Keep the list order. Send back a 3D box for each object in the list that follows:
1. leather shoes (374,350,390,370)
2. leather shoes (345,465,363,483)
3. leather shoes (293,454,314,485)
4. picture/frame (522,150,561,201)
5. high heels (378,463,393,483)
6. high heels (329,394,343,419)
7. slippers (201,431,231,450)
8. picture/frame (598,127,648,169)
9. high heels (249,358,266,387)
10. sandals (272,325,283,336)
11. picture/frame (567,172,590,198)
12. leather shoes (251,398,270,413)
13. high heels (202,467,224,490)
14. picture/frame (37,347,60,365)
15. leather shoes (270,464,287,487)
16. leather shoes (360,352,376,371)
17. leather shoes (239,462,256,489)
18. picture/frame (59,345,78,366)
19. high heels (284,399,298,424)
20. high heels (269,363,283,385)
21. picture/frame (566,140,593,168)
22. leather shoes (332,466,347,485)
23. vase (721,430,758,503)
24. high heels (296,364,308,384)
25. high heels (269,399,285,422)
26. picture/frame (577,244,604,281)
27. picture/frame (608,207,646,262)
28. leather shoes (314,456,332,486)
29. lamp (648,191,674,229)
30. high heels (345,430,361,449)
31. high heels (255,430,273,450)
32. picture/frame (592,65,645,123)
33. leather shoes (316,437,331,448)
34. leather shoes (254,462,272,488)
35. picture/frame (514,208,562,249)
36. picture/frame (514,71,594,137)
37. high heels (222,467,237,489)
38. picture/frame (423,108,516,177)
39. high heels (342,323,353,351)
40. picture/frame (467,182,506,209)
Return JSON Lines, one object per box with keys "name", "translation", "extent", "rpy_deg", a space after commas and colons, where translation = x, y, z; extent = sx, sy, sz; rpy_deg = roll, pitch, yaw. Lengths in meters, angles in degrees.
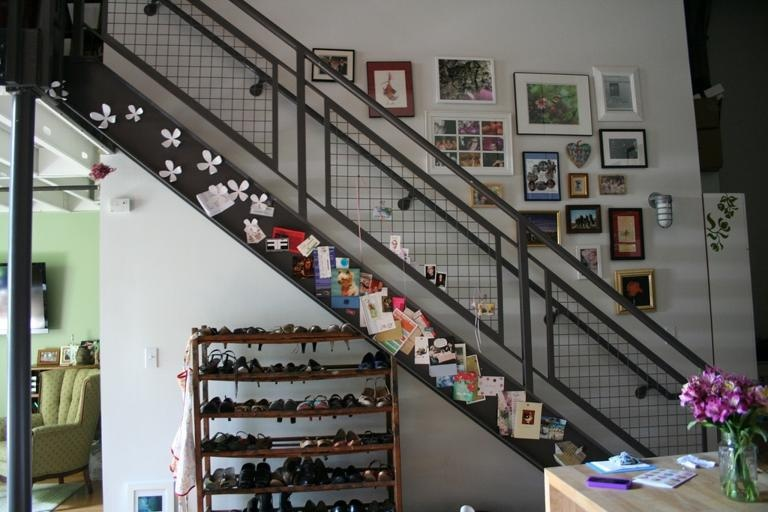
{"name": "leather shoes", "translation": [-0.026, 0.965, 6.659], "extent": [0.142, 0.180, 0.264], "rpy_deg": [-8, -8, -1]}
{"name": "leather shoes", "translation": [-0.287, 2.007, 6.624], "extent": [0.157, 0.121, 0.282], "rpy_deg": [-8, -8, -5]}
{"name": "leather shoes", "translation": [-0.747, 1.963, 6.584], "extent": [0.188, 0.268, 0.607], "rpy_deg": [1, -7, -3]}
{"name": "picture/frame", "translation": [1.607, -0.804, 7.398], "extent": [0.476, 0.699, 0.024], "rpy_deg": [1, -8, -9]}
{"name": "high heels", "translation": [0.008, 1.992, 6.570], "extent": [0.069, 0.128, 0.122], "rpy_deg": [5, -22, -8]}
{"name": "high heels", "translation": [-0.460, 1.348, 6.644], "extent": [0.120, 0.121, 0.298], "rpy_deg": [-7, -8, -6]}
{"name": "slippers", "translation": [-1.527, 1.691, 6.572], "extent": [0.096, 0.085, 0.253], "rpy_deg": [1, 2, 10]}
{"name": "picture/frame", "translation": [2.475, -1.112, 7.512], "extent": [0.397, 0.374, 0.032], "rpy_deg": [0, -10, -8]}
{"name": "high heels", "translation": [-1.183, 1.060, 6.692], "extent": [0.102, 0.125, 0.305], "rpy_deg": [3, -27, -5]}
{"name": "sandals", "translation": [-1.010, 0.704, 6.783], "extent": [0.045, 0.056, 0.134], "rpy_deg": [2, -1, -25]}
{"name": "picture/frame", "translation": [2.000, -0.724, 7.433], "extent": [0.240, 0.310, 0.030], "rpy_deg": [0, -3, -9]}
{"name": "leather shoes", "translation": [-1.143, 1.370, 6.584], "extent": [0.149, 0.100, 0.226], "rpy_deg": [-7, -8, -10]}
{"name": "high heels", "translation": [-1.573, 2.052, 6.610], "extent": [0.184, 0.141, 0.285], "rpy_deg": [-6, -8, -14]}
{"name": "picture/frame", "translation": [-4.366, 1.309, 9.312], "extent": [0.177, 0.188, 0.065], "rpy_deg": [1, -31, -16]}
{"name": "leather shoes", "translation": [-0.991, 2.032, 6.620], "extent": [0.143, 0.134, 0.298], "rpy_deg": [-7, -8, -11]}
{"name": "leather shoes", "translation": [-0.146, 0.987, 6.675], "extent": [0.069, 0.061, 0.202], "rpy_deg": [-10, 33, 14]}
{"name": "leather shoes", "translation": [-1.255, 2.017, 6.567], "extent": [0.116, 0.120, 0.371], "rpy_deg": [3, -4, -8]}
{"name": "picture/frame", "translation": [-4.094, 1.303, 9.288], "extent": [0.209, 0.232, 0.016], "rpy_deg": [-6, -13, 8]}
{"name": "high heels", "translation": [-0.859, 1.455, 6.645], "extent": [0.088, 0.259, 0.092], "rpy_deg": [0, 34, 0]}
{"name": "high heels", "translation": [-1.008, 1.076, 6.635], "extent": [0.166, 0.152, 0.287], "rpy_deg": [-7, -8, -9]}
{"name": "picture/frame", "translation": [2.013, -1.046, 7.462], "extent": [0.253, 0.283, 0.037], "rpy_deg": [2, -12, -11]}
{"name": "leather shoes", "translation": [-0.424, 2.013, 6.612], "extent": [0.172, 0.122, 0.273], "rpy_deg": [-7, -8, -9]}
{"name": "vase", "translation": [2.607, 1.535, 5.294], "extent": [0.282, 0.463, 0.298], "rpy_deg": [-3, -1, 7]}
{"name": "high heels", "translation": [-0.778, 1.064, 6.595], "extent": [0.129, 0.184, 0.159], "rpy_deg": [1, -28, -5]}
{"name": "high heels", "translation": [-0.995, 1.449, 6.689], "extent": [0.136, 0.210, 0.453], "rpy_deg": [-6, -8, -10]}
{"name": "picture/frame", "translation": [2.032, 0.072, 7.128], "extent": [0.337, 0.510, 0.024], "rpy_deg": [0, -1, -6]}
{"name": "picture/frame", "translation": [2.512, -0.227, 7.462], "extent": [0.386, 0.556, 0.085], "rpy_deg": [-6, -7, -11]}
{"name": "leather shoes", "translation": [-0.582, 1.998, 6.650], "extent": [0.088, 0.080, 0.257], "rpy_deg": [6, 22, -26]}
{"name": "lamp", "translation": [2.937, -0.487, 7.479], "extent": [0.282, 0.395, 0.208], "rpy_deg": [-4, -8, -27]}
{"name": "high heels", "translation": [-0.291, 1.688, 6.656], "extent": [0.140, 0.111, 0.343], "rpy_deg": [-8, -8, -5]}
{"name": "high heels", "translation": [-1.137, 1.737, 6.694], "extent": [0.151, 0.162, 0.098], "rpy_deg": [16, -32, -26]}
{"name": "picture/frame", "translation": [2.437, -1.683, 7.553], "extent": [0.546, 0.694, 0.072], "rpy_deg": [-1, -9, -14]}
{"name": "leather shoes", "translation": [-0.565, 1.718, 6.651], "extent": [0.131, 0.069, 0.280], "rpy_deg": [-8, -8, -5]}
{"name": "leather shoes", "translation": [-1.114, 1.994, 6.559], "extent": [0.158, 0.199, 0.195], "rpy_deg": [-6, -8, -12]}
{"name": "picture/frame", "translation": [1.462, -0.254, 6.912], "extent": [0.366, 0.394, 0.027], "rpy_deg": [2, -6, -13]}
{"name": "picture/frame", "translation": [1.724, -1.556, 7.463], "extent": [0.624, 0.583, 0.045], "rpy_deg": [1, -8, -11]}
{"name": "high heels", "translation": [-1.425, 2.040, 6.576], "extent": [0.098, 0.058, 0.417], "rpy_deg": [3, 0, -16]}
{"name": "picture/frame", "translation": [0.817, -1.121, 7.238], "extent": [0.741, 0.573, 0.059], "rpy_deg": [2, -4, -9]}
{"name": "high heels", "translation": [-0.359, 0.749, 6.792], "extent": [0.113, 0.145, 0.356], "rpy_deg": [0, -10, -1]}
{"name": "picture/frame", "translation": [0.953, -0.566, 6.862], "extent": [0.301, 0.234, 0.026], "rpy_deg": [2, -1, -9]}
